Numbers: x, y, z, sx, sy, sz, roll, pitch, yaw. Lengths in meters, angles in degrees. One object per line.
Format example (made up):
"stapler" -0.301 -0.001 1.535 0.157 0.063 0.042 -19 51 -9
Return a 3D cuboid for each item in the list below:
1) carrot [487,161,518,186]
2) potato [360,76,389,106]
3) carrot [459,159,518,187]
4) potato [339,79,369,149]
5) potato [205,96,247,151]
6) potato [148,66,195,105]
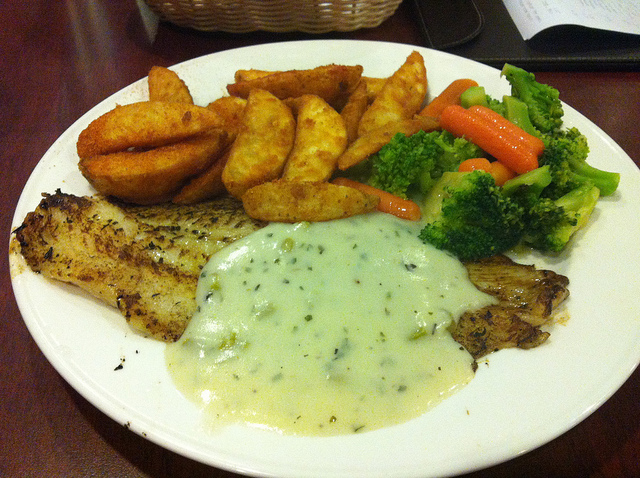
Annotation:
"carrot" 1.135 -0.422 3.570 0.170 0.144 0.098 6 106 3
"potato" 0.375 -1.096 4.074 0.189 0.063 0.219 11 82 11
"carrot" 1.082 -0.440 3.617 0.284 0.174 0.115 29 99 3
"potato" 0.244 -0.920 4.034 0.143 0.142 0.562 -4 52 46
"potato" -0.652 -0.804 4.057 0.343 0.109 0.365 -23 59 8
"potato" -1.055 -1.061 3.903 0.208 0.106 0.324 -27 78 -32
